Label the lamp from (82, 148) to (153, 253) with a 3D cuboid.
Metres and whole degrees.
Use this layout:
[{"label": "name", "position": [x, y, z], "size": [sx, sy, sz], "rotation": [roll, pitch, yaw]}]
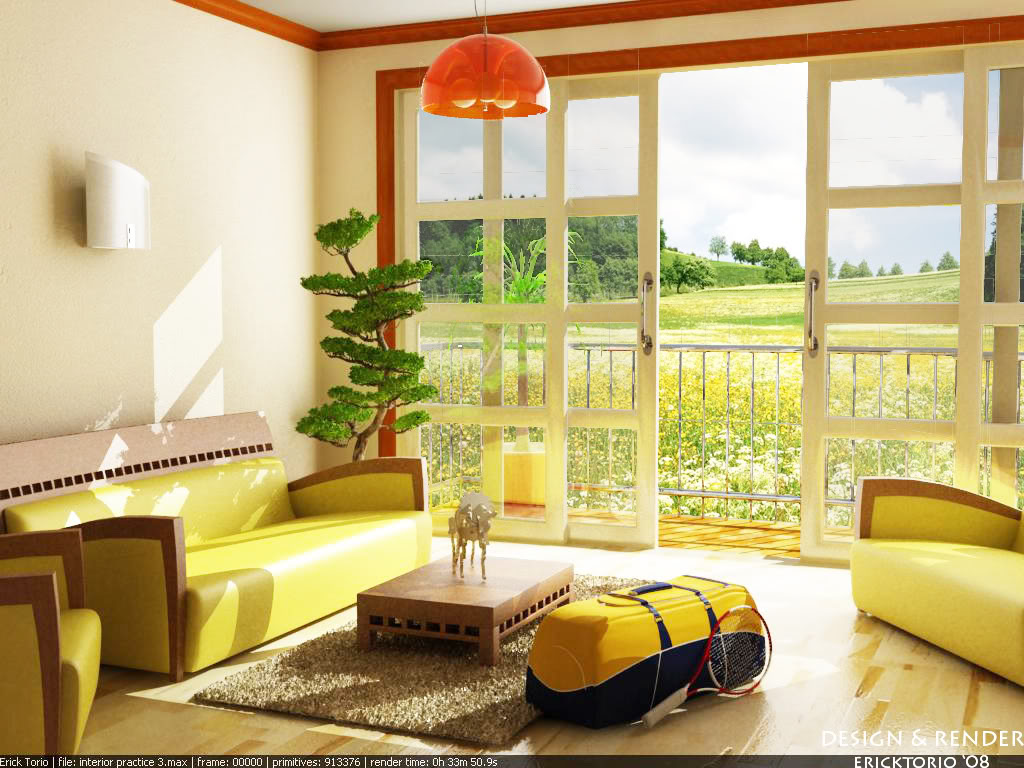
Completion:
[{"label": "lamp", "position": [-1.973, -0.902, 4.223], "size": [0.303, 0.448, 0.142], "rotation": [-4, 6, -38]}]
